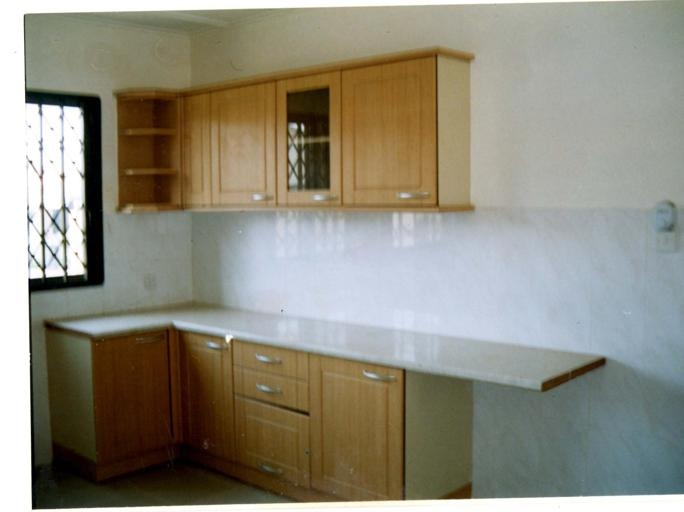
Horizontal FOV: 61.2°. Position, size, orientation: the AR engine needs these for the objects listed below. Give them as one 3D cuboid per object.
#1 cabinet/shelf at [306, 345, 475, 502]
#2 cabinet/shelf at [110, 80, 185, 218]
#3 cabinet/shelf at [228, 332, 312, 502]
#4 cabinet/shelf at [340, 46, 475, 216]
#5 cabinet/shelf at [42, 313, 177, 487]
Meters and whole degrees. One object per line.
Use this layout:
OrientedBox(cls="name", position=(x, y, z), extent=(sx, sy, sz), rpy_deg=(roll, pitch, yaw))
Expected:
OrientedBox(cls="cabinet/shelf", position=(0.143, 0.542, 1.959), extent=(0.438, 0.481, 0.440), rpy_deg=(-1, 2, -29))
OrientedBox(cls="cabinet/shelf", position=(-0.619, -0.330, 1.841), extent=(0.119, 0.369, 0.195), rpy_deg=(15, 17, 40))
OrientedBox(cls="cabinet/shelf", position=(-0.163, 0.483, 2.003), extent=(0.313, 0.473, 0.329), rpy_deg=(10, 15, 38))
OrientedBox(cls="cabinet/shelf", position=(0.191, -0.400, 1.874), extent=(0.398, 0.463, 0.192), rpy_deg=(6, 11, 42))
OrientedBox(cls="cabinet/shelf", position=(-0.776, 0.477, 1.997), extent=(0.293, 0.456, 0.338), rpy_deg=(-3, -1, 34))
